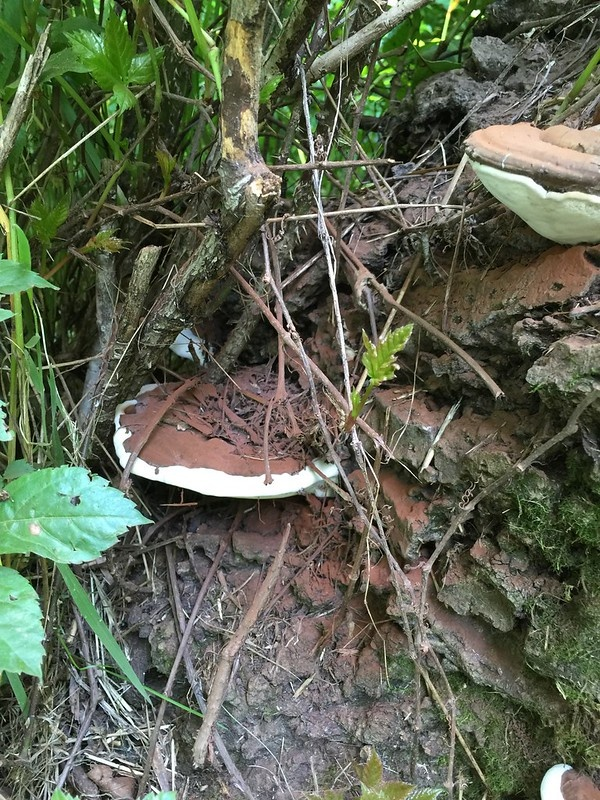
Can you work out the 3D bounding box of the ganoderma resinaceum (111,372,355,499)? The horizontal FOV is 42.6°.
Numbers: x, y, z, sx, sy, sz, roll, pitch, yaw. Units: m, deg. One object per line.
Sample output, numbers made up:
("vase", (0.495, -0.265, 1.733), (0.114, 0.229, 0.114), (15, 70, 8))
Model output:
("ganoderma resinaceum", (-0.177, 0.102, 1.755), (0.540, 0.159, 0.347), (10, 39, 4))
